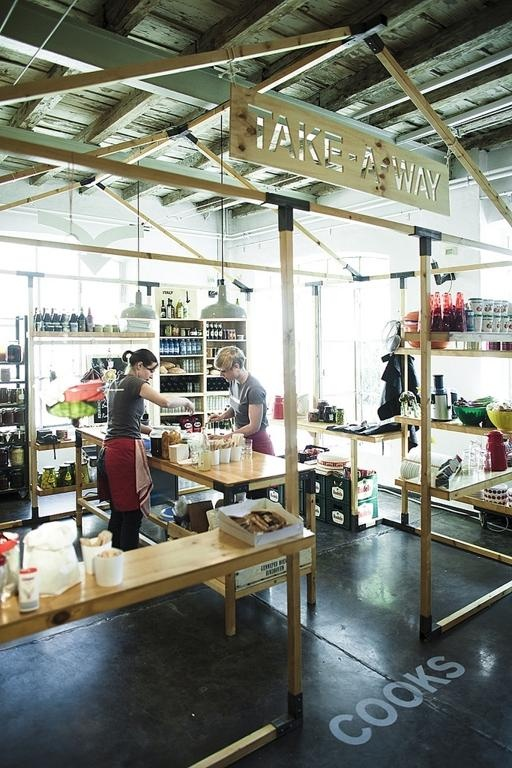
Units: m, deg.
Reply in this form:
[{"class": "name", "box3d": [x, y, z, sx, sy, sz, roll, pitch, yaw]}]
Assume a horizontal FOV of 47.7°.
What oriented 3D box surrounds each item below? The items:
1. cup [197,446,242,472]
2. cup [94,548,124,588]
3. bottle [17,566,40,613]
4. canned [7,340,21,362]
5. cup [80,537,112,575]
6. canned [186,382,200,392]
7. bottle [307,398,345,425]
[{"class": "cup", "box3d": [-0.238, 0.476, 3.755, 0.204, 0.084, 0.140, -4, 2, -44]}, {"class": "cup", "box3d": [-0.485, 0.599, 1.918, 0.095, 0.112, 0.109, 0, -2, -26]}, {"class": "bottle", "box3d": [-0.694, 0.616, 1.765, 0.063, 0.118, 0.111, -2, 4, -22]}, {"class": "canned", "box3d": [-2.602, -0.332, 6.235, 0.172, 0.210, 0.101, -3, 4, -37]}, {"class": "cup", "box3d": [-0.569, 0.597, 2.055, 0.109, 0.110, 0.139, 1, -4, -35]}, {"class": "canned", "box3d": [-0.848, 0.033, 7.848, 0.193, 0.171, 0.110, 0, 2, -38]}, {"class": "bottle", "box3d": [0.658, 0.283, 5.692, 0.171, 0.303, 0.308, -3, 5, -29]}]
